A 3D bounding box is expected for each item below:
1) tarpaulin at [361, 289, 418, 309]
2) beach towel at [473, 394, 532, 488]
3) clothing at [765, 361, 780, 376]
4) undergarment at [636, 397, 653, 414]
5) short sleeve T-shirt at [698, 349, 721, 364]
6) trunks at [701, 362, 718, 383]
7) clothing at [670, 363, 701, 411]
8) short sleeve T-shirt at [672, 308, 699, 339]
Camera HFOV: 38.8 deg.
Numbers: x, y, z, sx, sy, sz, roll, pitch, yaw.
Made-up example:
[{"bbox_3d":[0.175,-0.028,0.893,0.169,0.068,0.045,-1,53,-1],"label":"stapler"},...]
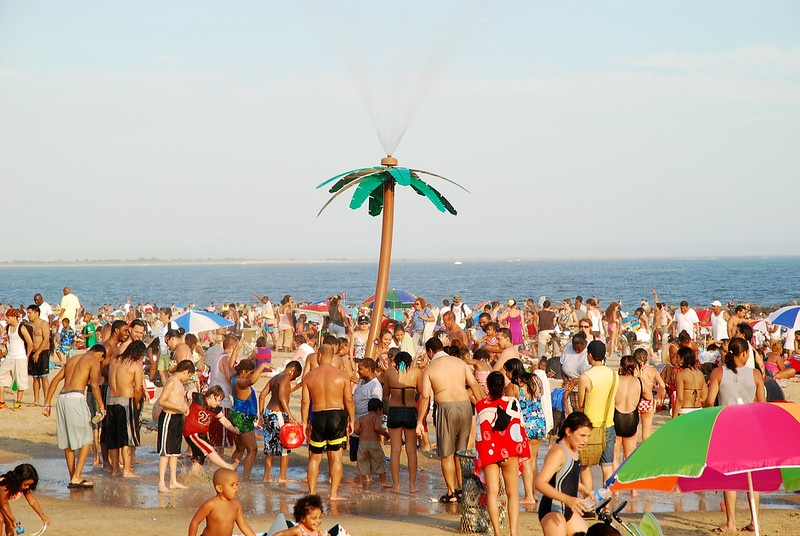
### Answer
[{"bbox_3d":[-0.150,0.931,32.171,0.852,0.662,0.890,2,-8,-15],"label":"tarpaulin"},{"bbox_3d":[1.440,2.471,16.851,1.081,1.664,0.848,-3,6,4],"label":"beach towel"},{"bbox_3d":[7.023,1.916,21.442,0.230,0.310,0.318,11,2,17],"label":"clothing"},{"bbox_3d":[3.980,2.271,18.489,0.239,0.253,0.256,20,-16,13],"label":"undergarment"},{"bbox_3d":[6.118,1.770,22.430,0.415,0.449,0.255,2,-2,23],"label":"short sleeve T-shirt"},{"bbox_3d":[5.353,1.827,19.654,0.293,0.487,0.137,-13,-26,26],"label":"trunks"},{"bbox_3d":[5.034,2.124,19.651,0.583,0.884,0.295,-1,3,-12],"label":"clothing"},{"bbox_3d":[7.191,1.436,28.598,0.776,0.935,0.494,9,13,39],"label":"short sleeve T-shirt"}]
